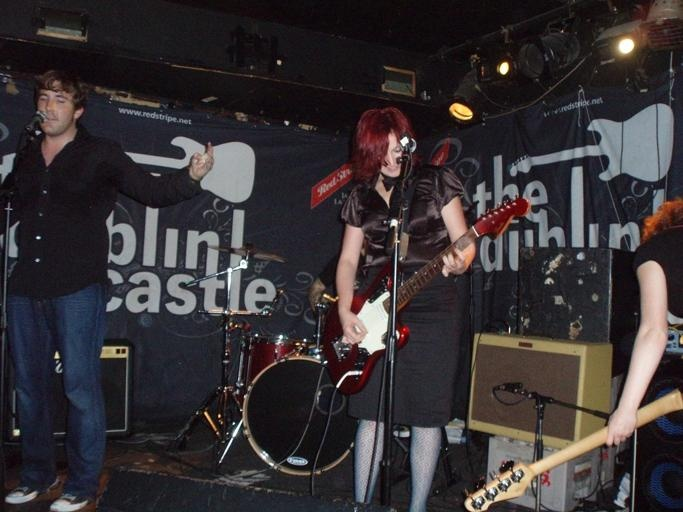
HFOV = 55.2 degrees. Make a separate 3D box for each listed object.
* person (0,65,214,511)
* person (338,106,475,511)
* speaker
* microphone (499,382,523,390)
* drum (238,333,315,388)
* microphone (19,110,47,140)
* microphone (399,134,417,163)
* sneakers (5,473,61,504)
[{"bbox_3d":[-1.732,0.233,4.366,1.007,2.896,0.652,4,-4,-18],"label":"person"},{"bbox_3d":[0.349,0.300,3.834,0.832,2.329,0.493,2,-4,11],"label":"person"},{"bbox_3d":[1.407,0.932,4.880,0.698,1.045,1.155,12,-13,-41],"label":"speaker"},{"bbox_3d":[1.213,0.925,4.645,0.103,0.030,0.064,-2,6,-2],"label":"microphone"},{"bbox_3d":[-0.561,0.831,5.335,0.450,0.451,0.466,12,6,18],"label":"drum"},{"bbox_3d":[-1.985,-0.849,4.217,0.120,0.189,0.239,5,-5,-26],"label":"microphone"},{"bbox_3d":[0.398,-0.598,3.666,0.044,0.146,0.103,-5,44,-32],"label":"microphone"},{"bbox_3d":[-2.105,1.599,4.459,0.110,0.112,0.304,-5,-12,32],"label":"sneakers"}]
